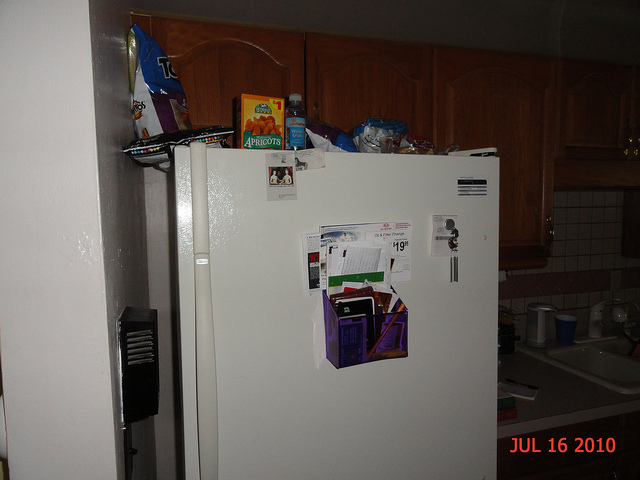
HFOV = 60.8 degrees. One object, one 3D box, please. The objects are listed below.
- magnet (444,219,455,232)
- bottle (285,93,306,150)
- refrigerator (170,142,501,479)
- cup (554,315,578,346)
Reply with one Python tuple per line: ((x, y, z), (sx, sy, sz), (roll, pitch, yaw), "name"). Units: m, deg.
((0.380, -0.046, 1.602), (0.027, 0.030, 0.006), (2, 6, -24), "magnet")
((-0.068, -0.345, 1.587), (0.062, 0.174, 0.207), (-1, 6, -3), "bottle")
((0.029, 0.187, 1.531), (0.793, 1.341, 0.452), (-3, 8, -13), "refrigerator")
((1.192, 0.436, 2.661), (0.118, 0.142, 0.120), (0, -4, 0), "cup")
